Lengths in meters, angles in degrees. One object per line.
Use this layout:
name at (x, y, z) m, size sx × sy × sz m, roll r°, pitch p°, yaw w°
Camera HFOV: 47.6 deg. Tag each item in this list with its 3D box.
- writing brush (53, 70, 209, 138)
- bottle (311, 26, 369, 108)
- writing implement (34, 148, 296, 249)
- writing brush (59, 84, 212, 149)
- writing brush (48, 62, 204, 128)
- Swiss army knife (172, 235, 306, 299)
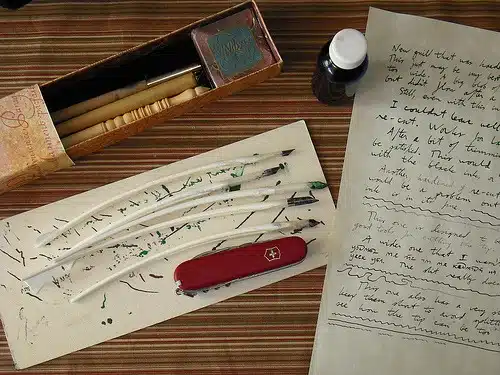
writing brush at (-0.251, -0.170, 1.153) m, size 0.361 × 0.035 × 0.033 m, roll -18°, pitch -64°, yaw 3°
bottle at (0.184, -0.227, 1.133) m, size 0.106 × 0.093 × 0.168 m, roll 34°, pitch -7°, yaw 4°
writing implement at (-0.188, 0.031, 1.165) m, size 0.688 × 0.090 × 0.032 m, roll -12°, pitch -31°, yaw -7°
writing brush at (-0.245, -0.143, 1.156) m, size 0.382 × 0.032 × 0.034 m, roll -16°, pitch -23°, yaw -9°
writing brush at (-0.251, -0.185, 1.153) m, size 0.436 × 0.034 × 0.041 m, roll -14°, pitch -10°, yaw -3°
Swiss army knife at (-0.015, 0.154, 1.161) m, size 0.292 × 0.061 × 0.056 m, roll -15°, pitch -9°, yaw 2°
